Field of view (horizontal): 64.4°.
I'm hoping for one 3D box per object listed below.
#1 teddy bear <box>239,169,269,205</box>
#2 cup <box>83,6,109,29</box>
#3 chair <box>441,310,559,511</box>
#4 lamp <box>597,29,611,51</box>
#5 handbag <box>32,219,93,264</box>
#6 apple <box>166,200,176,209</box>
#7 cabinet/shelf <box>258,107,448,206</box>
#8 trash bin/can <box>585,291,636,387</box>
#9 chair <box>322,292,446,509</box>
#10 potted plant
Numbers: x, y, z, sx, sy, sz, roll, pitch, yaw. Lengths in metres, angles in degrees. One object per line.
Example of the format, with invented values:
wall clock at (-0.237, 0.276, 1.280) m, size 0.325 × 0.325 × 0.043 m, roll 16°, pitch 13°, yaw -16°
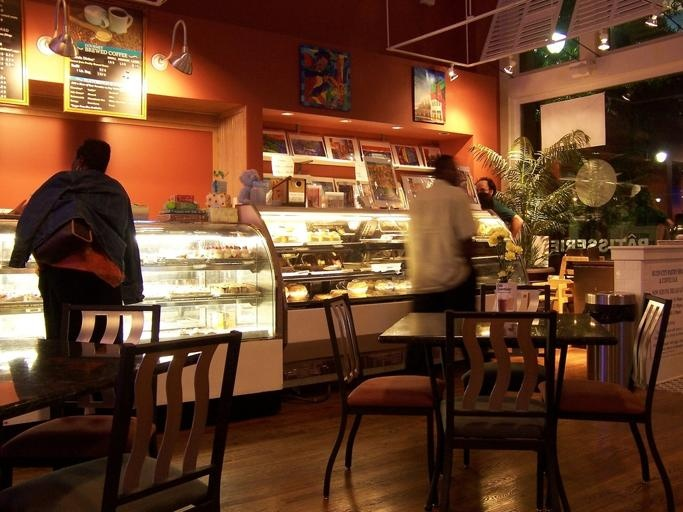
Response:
teddy bear at (-0.771, -0.600, 4.766) m, size 0.316 × 0.364 × 0.264 m, roll 1°, pitch -4°, yaw 3°
cup at (-2.261, -2.225, 5.013) m, size 0.210 × 0.096 × 0.134 m, roll 41°, pitch 45°, yaw 17°
chair at (0.803, 0.771, 2.791) m, size 0.608 × 1.106 × 0.844 m, roll 0°, pitch 4°, yaw 14°
lamp at (3.322, -2.762, 6.915) m, size 0.135 × 0.330 × 0.531 m, roll 1°, pitch 4°, yaw 25°
handbag at (-1.553, -0.103, 2.963) m, size 0.289 × 0.129 × 0.402 m, roll -23°, pitch -5°, yaw -14°
apple at (-1.376, -0.405, 4.386) m, size 0.066 × 0.067 × 0.078 m, roll 3°, pitch 29°, yaw -4°
cabinet/shelf at (0.234, -1.409, 7.019) m, size 2.178 × 0.539 × 0.264 m, roll 5°, pitch -5°, yaw -16°
trash bin/can at (2.426, 0.740, 5.102) m, size 0.514 × 0.803 × 0.525 m, roll 3°, pitch -5°, yaw 17°
chair at (0.251, 0.811, 3.240) m, size 0.738 × 1.069 × 0.714 m, roll -1°, pitch -5°, yaw -2°
potted plant at (2.893, -1.024, 7.559) m, size 1.259 × 1.280 × 1.064 m, roll 6°, pitch -14°, yaw 10°
